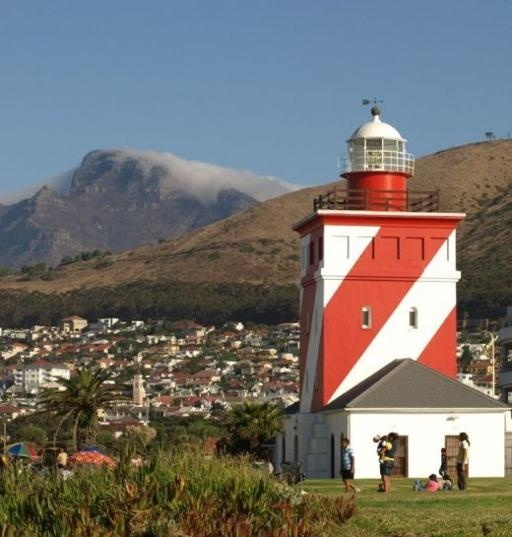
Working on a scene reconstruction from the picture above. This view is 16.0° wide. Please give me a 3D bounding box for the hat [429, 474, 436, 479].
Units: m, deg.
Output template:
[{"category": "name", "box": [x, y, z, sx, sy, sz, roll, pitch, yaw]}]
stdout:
[{"category": "hat", "box": [7.380, 8.792, 75.887, 0.201, 0.242, 0.172, -1, 4, -17]}]
